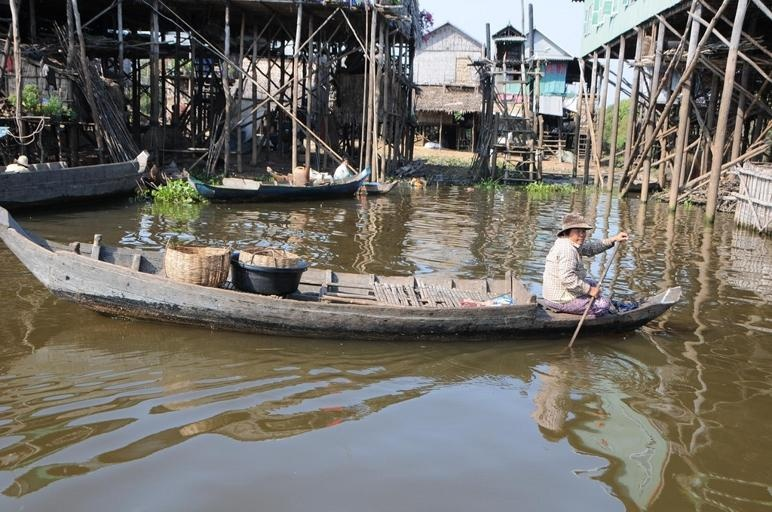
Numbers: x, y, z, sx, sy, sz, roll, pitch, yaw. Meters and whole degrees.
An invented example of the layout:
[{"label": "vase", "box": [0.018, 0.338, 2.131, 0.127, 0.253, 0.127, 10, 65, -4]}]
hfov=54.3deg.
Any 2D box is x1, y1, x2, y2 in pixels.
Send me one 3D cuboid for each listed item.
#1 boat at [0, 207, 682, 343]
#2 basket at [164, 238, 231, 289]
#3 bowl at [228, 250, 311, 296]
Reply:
[{"label": "boat", "box": [-0.908, 0.330, 12.709, 12.374, 1.315, 2.062, 2, 20, -3]}, {"label": "basket", "box": [-2.755, 0.116, 11.172, 1.054, 0.545, 0.729, 7, 2, 6]}, {"label": "bowl", "box": [-1.776, 0.187, 11.294, 1.203, 0.445, 1.089, 1, 16, -14]}]
